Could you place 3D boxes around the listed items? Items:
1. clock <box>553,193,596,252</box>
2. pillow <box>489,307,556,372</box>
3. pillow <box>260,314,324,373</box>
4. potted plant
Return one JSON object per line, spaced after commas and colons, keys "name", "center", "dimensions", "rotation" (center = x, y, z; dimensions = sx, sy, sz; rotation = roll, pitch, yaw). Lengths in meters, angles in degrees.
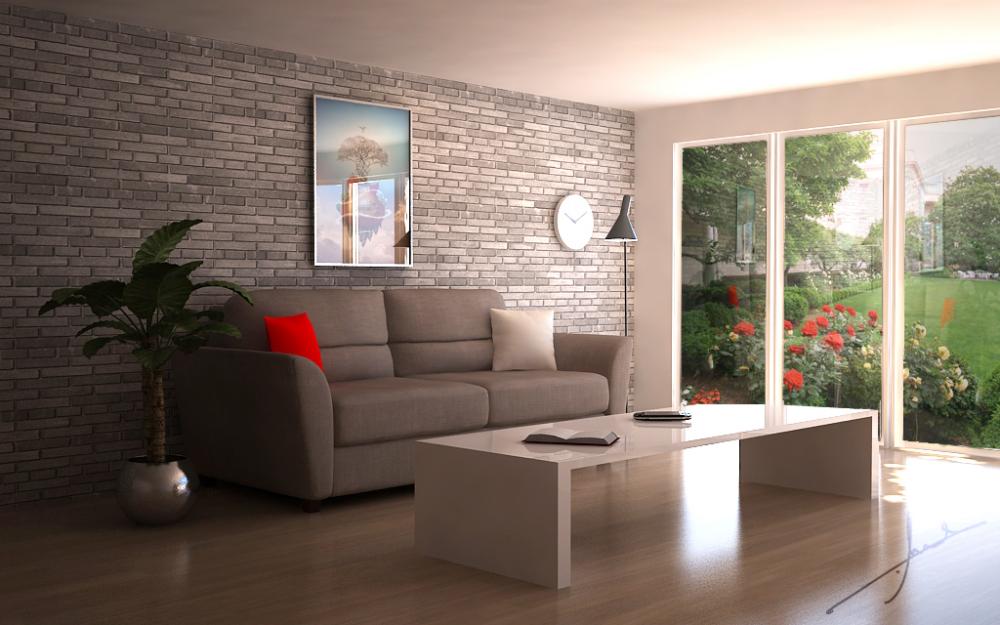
{"name": "clock", "center": [0.793, -0.929, 7.022], "dimensions": [0.543, 0.578, 0.097], "rotation": [-3, 5, -37]}
{"name": "pillow", "center": [0.203, 0.241, 5.954], "dimensions": [0.674, 0.557, 0.241], "rotation": [2, -3, -29]}
{"name": "pillow", "center": [-1.465, 0.168, 4.867], "dimensions": [0.258, 0.378, 0.473], "rotation": [-11, 8, 13]}
{"name": "potted plant", "center": [-2.281, 0.314, 4.446], "dimensions": [1.225, 1.905, 1.243], "rotation": [-3, 4, -32]}
